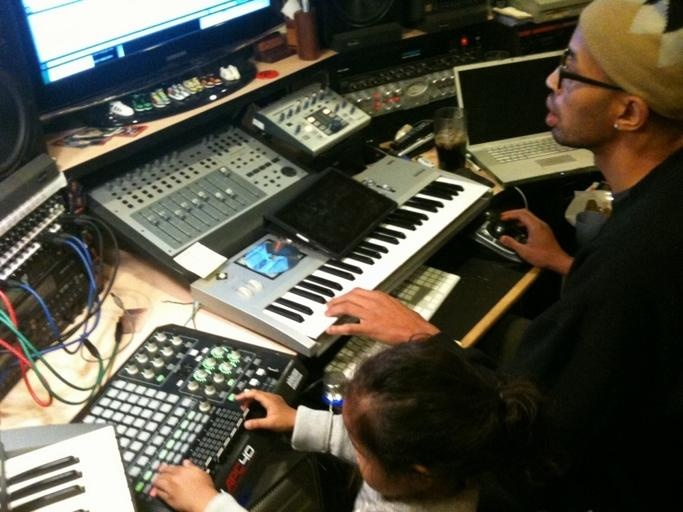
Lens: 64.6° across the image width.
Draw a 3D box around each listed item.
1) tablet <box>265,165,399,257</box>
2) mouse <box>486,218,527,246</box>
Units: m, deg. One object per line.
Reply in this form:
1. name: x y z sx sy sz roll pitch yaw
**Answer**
1. tablet: -0.048 -0.142 1.856 0.410 0.154 0.357 21 32 33
2. mouse: 0.626 -0.100 2.052 0.160 0.068 0.082 -2 69 -42
